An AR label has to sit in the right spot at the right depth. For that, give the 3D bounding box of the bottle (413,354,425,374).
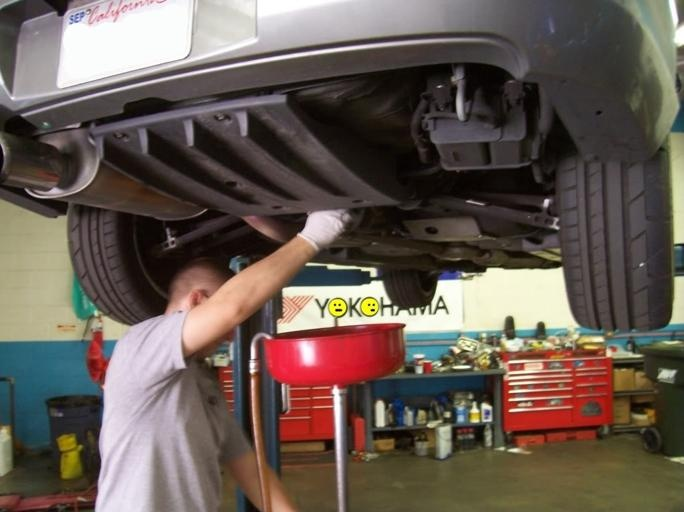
[{"bbox_3d":[0.777,1.050,6.180,0.148,0.196,0.142,0,-8,0],"label":"bottle"}]

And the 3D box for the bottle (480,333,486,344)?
[{"bbox_3d":[1.551,0.888,6.926,0.072,0.099,0.179,-1,-1,12],"label":"bottle"}]

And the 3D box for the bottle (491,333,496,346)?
[{"bbox_3d":[1.652,0.916,6.846,0.064,0.089,0.138,-1,-1,13],"label":"bottle"}]

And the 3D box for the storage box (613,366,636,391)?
[{"bbox_3d":[2.904,1.266,6.535,0.236,0.205,0.057,-2,-3,-4],"label":"storage box"}]

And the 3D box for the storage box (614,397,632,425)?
[{"bbox_3d":[2.878,1.593,6.514,0.162,0.244,0.290,-11,-4,34],"label":"storage box"}]

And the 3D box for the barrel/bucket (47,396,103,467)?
[{"bbox_3d":[-2.420,1.592,5.741,0.476,0.568,0.415,-1,6,8],"label":"barrel/bucket"}]

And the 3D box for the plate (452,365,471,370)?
[{"bbox_3d":[1.178,1.090,6.221,0.181,0.021,0.182,-1,-1,13],"label":"plate"}]

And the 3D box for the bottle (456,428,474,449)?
[{"bbox_3d":[1.207,1.779,6.208,0.208,0.166,0.233,-1,-1,9],"label":"bottle"}]

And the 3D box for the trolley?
[{"bbox_3d":[2.508,1.429,6.571,1.481,0.855,0.796,2,-6,-15],"label":"trolley"}]

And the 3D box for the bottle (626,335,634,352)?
[{"bbox_3d":[3.188,0.972,6.978,0.072,0.149,0.091,-1,-1,21],"label":"bottle"}]

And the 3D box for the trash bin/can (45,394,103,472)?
[{"bbox_3d":[-2.357,1.665,5.748,0.567,0.642,0.497,-3,-5,26],"label":"trash bin/can"}]

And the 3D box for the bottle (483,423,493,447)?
[{"bbox_3d":[1.435,1.736,6.180,0.096,0.231,0.095,-1,-1,0],"label":"bottle"}]
